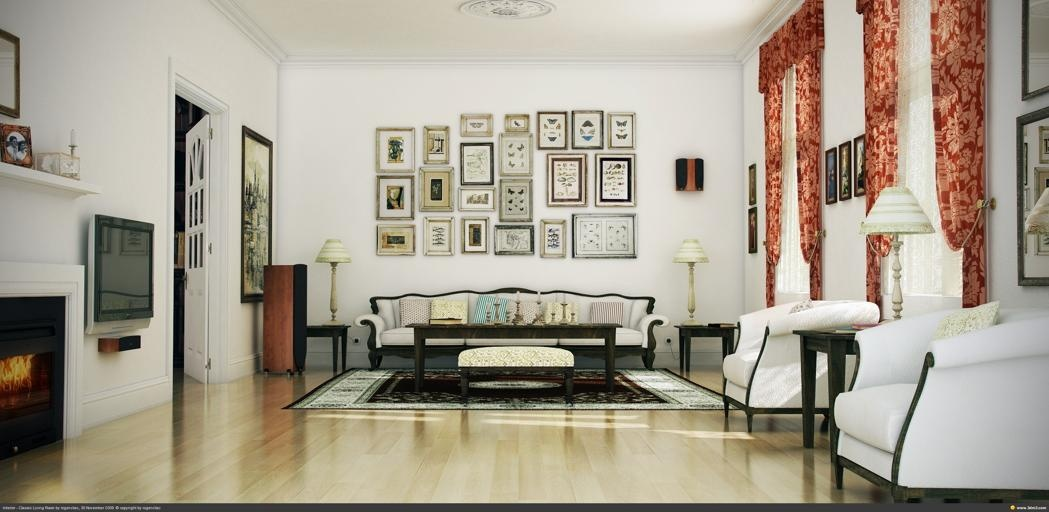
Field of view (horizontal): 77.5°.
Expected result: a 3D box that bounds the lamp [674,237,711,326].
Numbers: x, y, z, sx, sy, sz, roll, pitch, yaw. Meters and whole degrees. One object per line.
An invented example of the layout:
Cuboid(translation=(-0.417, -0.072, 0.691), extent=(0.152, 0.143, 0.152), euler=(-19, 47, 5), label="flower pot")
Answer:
Cuboid(translation=(2.777, 0.394, 10.903), extent=(0.571, 1.393, 0.899), euler=(2, 8, 15), label="lamp")

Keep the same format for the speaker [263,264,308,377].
Cuboid(translation=(-3.749, 0.996, 10.178), extent=(0.655, 1.729, 0.432), euler=(-1, 8, -9), label="speaker")

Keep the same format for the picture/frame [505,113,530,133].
Cuboid(translation=(-0.110, -2.301, 11.276), extent=(0.405, 0.239, 0.037), euler=(0, 0, -1), label="picture/frame")

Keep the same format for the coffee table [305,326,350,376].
Cuboid(translation=(-3.096, 1.490, 10.831), extent=(0.864, 0.667, 0.779), euler=(-1, -4, 3), label="coffee table")

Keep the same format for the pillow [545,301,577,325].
Cuboid(translation=(0.583, 0.899, 10.501), extent=(0.449, 0.363, 0.415), euler=(0, -3, 3), label="pillow")

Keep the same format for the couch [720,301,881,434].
Cuboid(translation=(3.231, 1.234, 8.020), extent=(1.823, 1.575, 1.799), euler=(1, -6, 5), label="couch")

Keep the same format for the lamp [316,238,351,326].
Cuboid(translation=(-3.180, 0.387, 10.886), extent=(0.547, 1.374, 0.782), euler=(-2, 8, -16), label="lamp")

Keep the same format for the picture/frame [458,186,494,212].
Cuboid(translation=(-0.829, -0.993, 11.257), extent=(0.548, 0.312, 0.041), euler=(1, -3, -3), label="picture/frame")

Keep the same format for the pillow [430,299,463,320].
Cuboid(translation=(-1.231, 0.853, 10.607), extent=(0.405, 0.092, 0.350), euler=(-1, 39, -7), label="pillow")

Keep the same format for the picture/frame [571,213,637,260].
Cuboid(translation=(1.409, -0.340, 11.217), extent=(0.990, 0.586, 0.062), euler=(0, -3, -1), label="picture/frame")

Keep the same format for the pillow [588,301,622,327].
Cuboid(translation=(1.369, 0.941, 10.796), extent=(0.512, 0.386, 0.126), euler=(5, -13, -6), label="pillow")

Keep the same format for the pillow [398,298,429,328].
Cuboid(translation=(-1.832, 0.899, 10.762), extent=(0.525, 0.420, 0.128), euler=(4, -15, -3), label="pillow")

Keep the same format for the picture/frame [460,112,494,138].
Cuboid(translation=(-0.826, -2.258, 11.274), extent=(0.523, 0.330, 0.050), euler=(0, -4, -2), label="picture/frame")

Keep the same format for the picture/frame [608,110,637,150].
Cuboid(translation=(1.690, -2.164, 11.258), extent=(0.779, 0.793, 0.111), euler=(0, 4, -1), label="picture/frame")

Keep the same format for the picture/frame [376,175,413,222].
Cuboid(translation=(-2.213, -1.026, 11.244), extent=(0.599, 0.753, 0.191), euler=(1, 8, 7), label="picture/frame")

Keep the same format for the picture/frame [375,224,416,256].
Cuboid(translation=(-2.214, -0.278, 11.217), extent=(0.683, 0.460, 0.044), euler=(0, -3, -3), label="picture/frame")

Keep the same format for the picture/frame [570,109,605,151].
Cuboid(translation=(1.099, -2.177, 11.284), extent=(0.841, 0.780, 0.063), euler=(0, 0, -2), label="picture/frame")

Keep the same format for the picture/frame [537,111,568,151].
Cuboid(translation=(0.496, -2.176, 11.270), extent=(0.514, 0.650, 0.107), euler=(0, 8, 0), label="picture/frame")

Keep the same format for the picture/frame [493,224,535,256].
Cuboid(translation=(-0.165, -0.289, 11.230), extent=(0.670, 0.436, 0.046), euler=(0, -3, 0), label="picture/frame")
